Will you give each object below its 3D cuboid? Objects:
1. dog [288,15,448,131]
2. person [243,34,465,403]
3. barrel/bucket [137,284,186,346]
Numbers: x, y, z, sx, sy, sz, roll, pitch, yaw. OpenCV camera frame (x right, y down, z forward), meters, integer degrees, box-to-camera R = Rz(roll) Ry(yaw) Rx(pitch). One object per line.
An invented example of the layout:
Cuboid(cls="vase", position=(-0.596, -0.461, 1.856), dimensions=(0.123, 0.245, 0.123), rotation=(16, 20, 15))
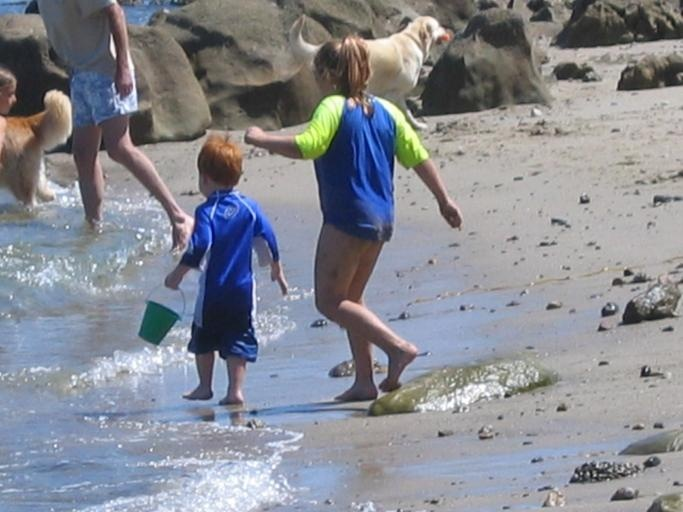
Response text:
Cuboid(cls="dog", position=(0.343, -2.298, 19.890), dimensions=(2.199, 1.396, 0.593), rotation=(-6, 17, -22))
Cuboid(cls="person", position=(0.103, -0.356, 13.565), dimensions=(1.456, 2.964, 0.709), rotation=(3, 15, 6))
Cuboid(cls="barrel/bucket", position=(-1.607, 0.518, 14.080), dimensions=(0.395, 0.529, 0.336), rotation=(29, 5, 6))
